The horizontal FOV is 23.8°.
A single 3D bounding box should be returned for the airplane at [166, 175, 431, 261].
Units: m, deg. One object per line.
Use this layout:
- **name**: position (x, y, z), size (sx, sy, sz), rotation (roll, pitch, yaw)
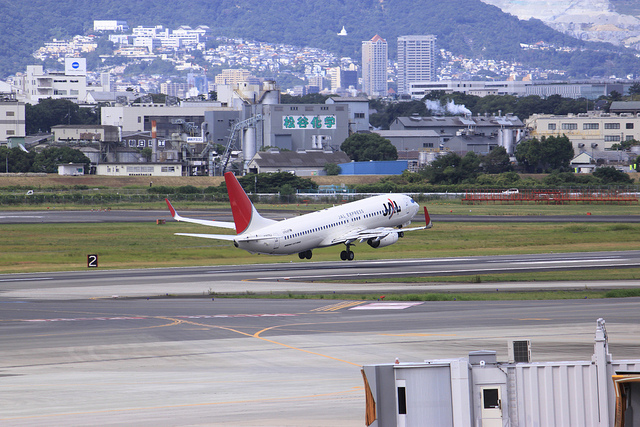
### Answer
- **airplane**: position (1.893, 3.795, 506.115), size (48.773, 14.023, 52.302), rotation (-12, 14, -40)
